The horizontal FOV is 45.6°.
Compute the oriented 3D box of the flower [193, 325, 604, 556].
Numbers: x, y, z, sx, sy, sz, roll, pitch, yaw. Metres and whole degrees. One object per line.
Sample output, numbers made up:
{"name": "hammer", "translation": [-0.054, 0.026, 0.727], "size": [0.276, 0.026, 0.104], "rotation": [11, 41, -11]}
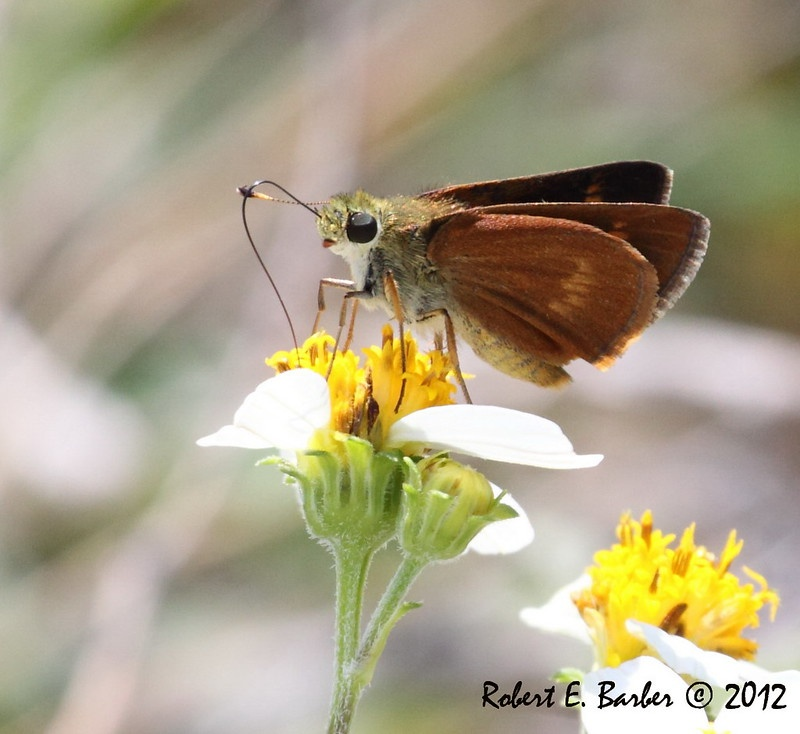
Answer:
{"name": "flower", "translation": [-0.006, 0.078, 1.624], "size": [0.401, 0.527, 0.397], "rotation": [-2, 1, -18]}

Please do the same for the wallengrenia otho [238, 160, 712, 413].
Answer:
{"name": "wallengrenia otho", "translation": [0.116, -0.359, 1.974], "size": [0.627, 0.672, 0.761], "rotation": [-2, 22, -8]}
